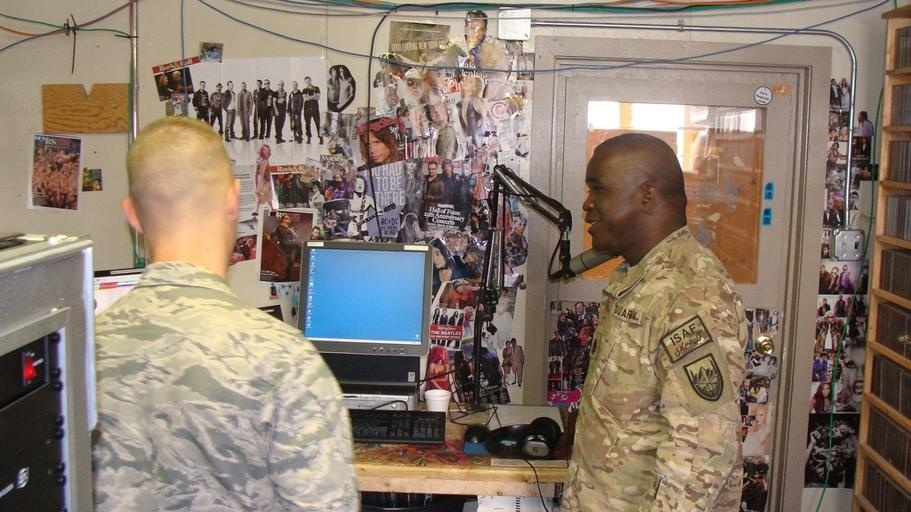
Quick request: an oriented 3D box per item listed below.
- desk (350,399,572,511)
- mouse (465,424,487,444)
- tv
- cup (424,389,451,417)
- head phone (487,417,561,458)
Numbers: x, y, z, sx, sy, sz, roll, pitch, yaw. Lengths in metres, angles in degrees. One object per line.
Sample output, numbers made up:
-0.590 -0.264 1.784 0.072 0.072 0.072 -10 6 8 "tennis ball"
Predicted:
0.046 0.943 3.353 0.978 0.502 0.556 2 4 0 "desk"
0.098 0.820 3.304 0.084 0.043 0.079 2 0 1 "mouse"
-0.425 0.220 3.404 0.583 0.454 0.046 3 -5 -1 "tv"
-0.090 0.704 3.415 0.122 0.087 0.121 1 -4 0 "cup"
0.384 0.844 3.280 0.326 0.100 0.267 -5 1 -2 "head phone"
